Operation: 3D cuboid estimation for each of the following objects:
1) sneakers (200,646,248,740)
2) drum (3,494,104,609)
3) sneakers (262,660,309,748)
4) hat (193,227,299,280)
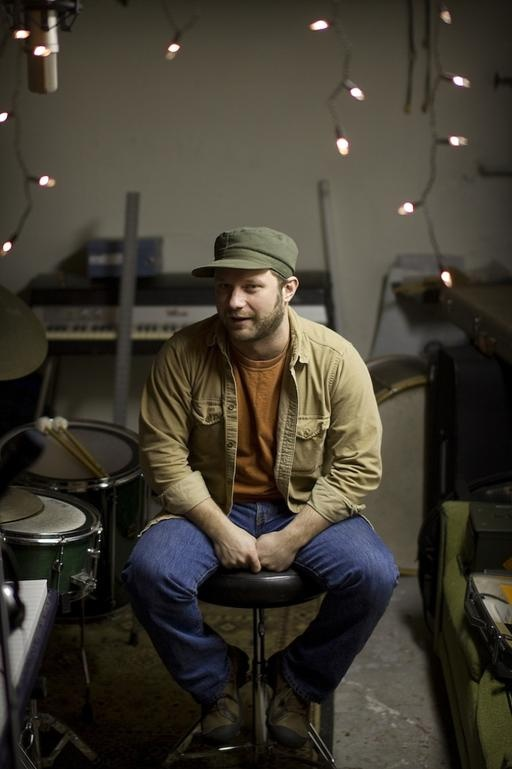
[{"bbox_3d":[-0.058,0.696,1.418,0.079,0.103,0.259,2,15,4],"label":"sneakers"},{"bbox_3d":[-0.554,0.452,1.680,0.242,0.248,0.361,1,2,-10],"label":"drum"},{"bbox_3d":[0.072,0.727,1.412,0.102,0.158,0.159,1,3,2],"label":"sneakers"},{"bbox_3d":[-0.007,-0.310,1.442,0.191,0.093,0.146,0,2,-24],"label":"hat"}]
